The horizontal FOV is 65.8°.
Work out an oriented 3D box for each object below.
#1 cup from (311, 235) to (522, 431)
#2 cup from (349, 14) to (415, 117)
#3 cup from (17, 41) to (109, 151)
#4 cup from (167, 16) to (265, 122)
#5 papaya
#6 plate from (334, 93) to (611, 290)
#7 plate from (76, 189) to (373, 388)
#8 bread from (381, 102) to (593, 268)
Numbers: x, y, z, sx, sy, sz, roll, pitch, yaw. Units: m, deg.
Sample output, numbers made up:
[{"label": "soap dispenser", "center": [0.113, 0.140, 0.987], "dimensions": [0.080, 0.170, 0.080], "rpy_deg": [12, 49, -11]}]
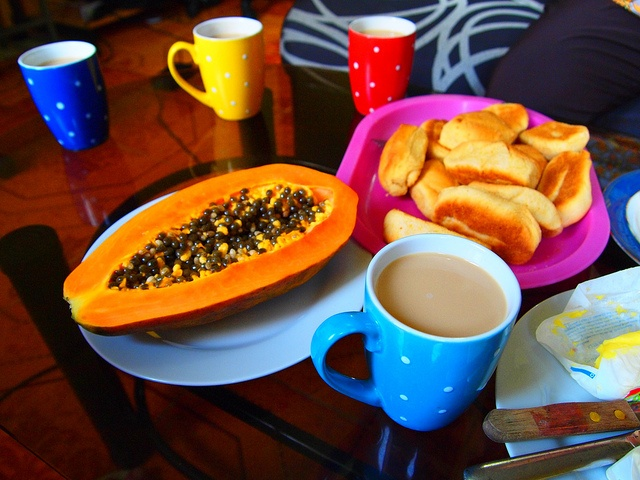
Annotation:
[{"label": "cup", "center": [0.103, 0.096, 0.565], "dimensions": [0.193, 0.157, 0.169], "rpy_deg": [17, 51, 10]}, {"label": "cup", "center": [0.111, -0.351, 0.973], "dimensions": [0.125, 0.152, 0.134], "rpy_deg": [5, 39, -4]}, {"label": "cup", "center": [-0.415, -0.255, 0.901], "dimensions": [0.164, 0.173, 0.170], "rpy_deg": [1, 32, -1]}, {"label": "cup", "center": [-0.184, -0.330, 1.008], "dimensions": [0.180, 0.195, 0.175], "rpy_deg": [-3, 31, 2]}, {"label": "papaya", "center": [-0.137, 0.024, 0.724], "dimensions": [0.422, 0.108, 0.252], "rpy_deg": [-20, 45, -29]}, {"label": "plate", "center": [0.263, -0.143, 0.879], "dimensions": [0.494, 0.083, 0.440], "rpy_deg": [9, 39, -2]}, {"label": "plate", "center": [-0.139, -0.006, 0.680], "dimensions": [0.331, 0.187, 0.291], "rpy_deg": [-15, 28, -30]}, {"label": "bread", "center": [0.265, -0.120, 0.794], "dimensions": [0.238, 0.059, 0.295], "rpy_deg": [-4, 49, 13]}]
